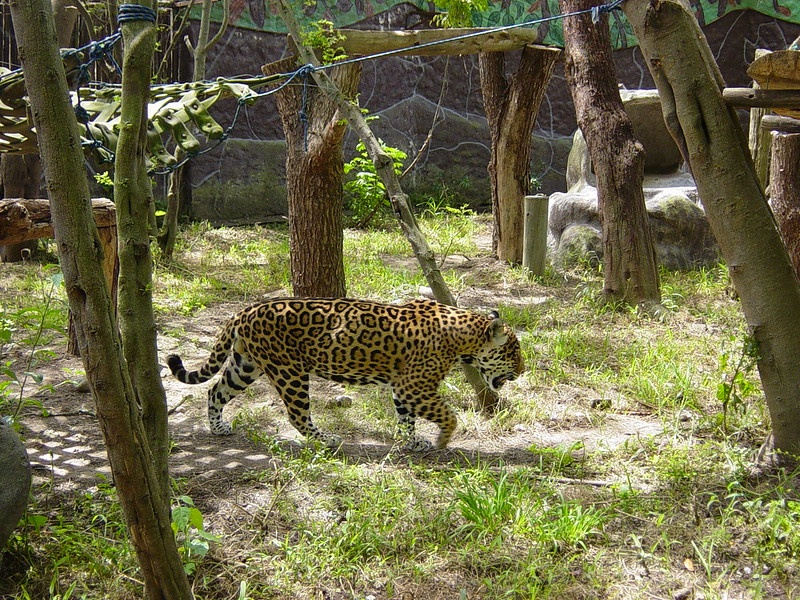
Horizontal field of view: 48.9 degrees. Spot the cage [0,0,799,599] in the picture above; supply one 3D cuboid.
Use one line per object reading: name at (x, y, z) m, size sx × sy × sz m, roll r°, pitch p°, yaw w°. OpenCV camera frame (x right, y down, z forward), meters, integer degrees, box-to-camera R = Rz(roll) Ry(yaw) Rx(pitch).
cage at (0.306, -0.399, 7.079) m, size 6.020 × 3.219 × 5.623 m, roll -2°, pitch 10°, yaw -4°
